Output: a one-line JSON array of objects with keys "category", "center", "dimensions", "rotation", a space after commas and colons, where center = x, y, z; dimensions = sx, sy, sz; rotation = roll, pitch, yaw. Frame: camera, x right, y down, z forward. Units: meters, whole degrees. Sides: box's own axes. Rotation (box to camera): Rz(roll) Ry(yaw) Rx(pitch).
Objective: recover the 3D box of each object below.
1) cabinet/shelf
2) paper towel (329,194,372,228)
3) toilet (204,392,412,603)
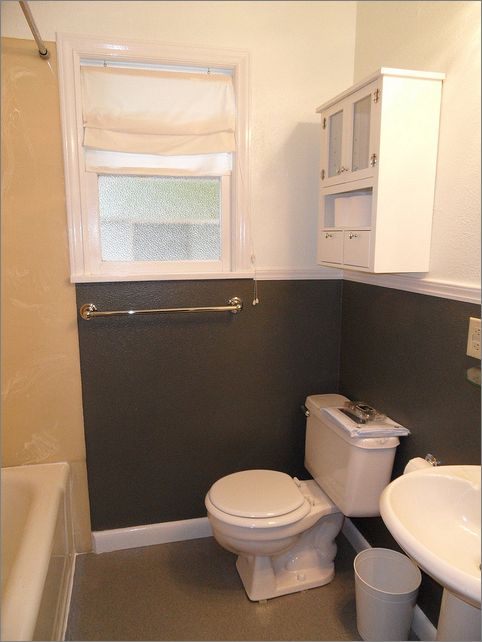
[{"category": "cabinet/shelf", "center": [0.472, -0.494, 1.795], "dimensions": [0.260, 0.621, 0.468], "rotation": [-2, 10, -11]}, {"category": "paper towel", "center": [0.390, -0.392, 1.812], "dimensions": [0.088, 0.119, 0.172], "rotation": [-6, 14, -16]}, {"category": "toilet", "center": [0.211, 0.712, 2.057], "dimensions": [0.653, 0.767, 0.508], "rotation": [0, 13, -13]}]
